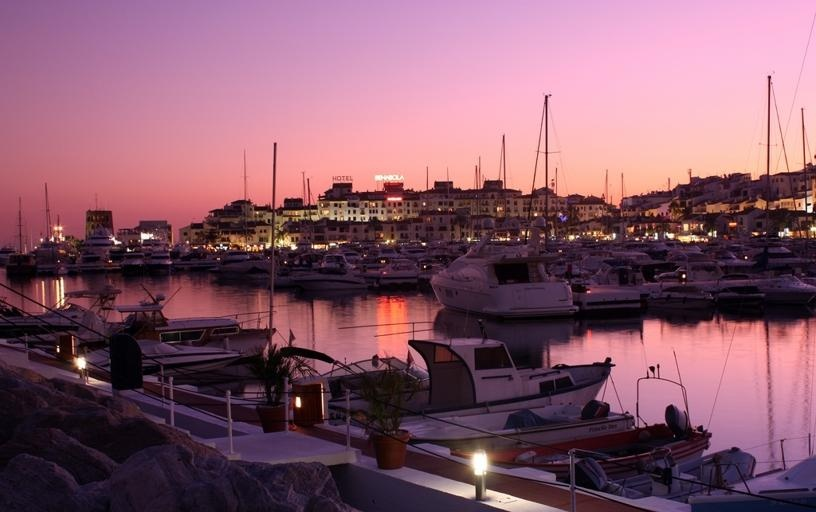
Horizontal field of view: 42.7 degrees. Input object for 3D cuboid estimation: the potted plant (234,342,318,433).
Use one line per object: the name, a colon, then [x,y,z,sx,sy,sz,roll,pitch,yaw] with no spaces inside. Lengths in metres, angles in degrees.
potted plant: [-4.216,3.697,29.887,2.478,2.548,2.124,-1,0,23]
